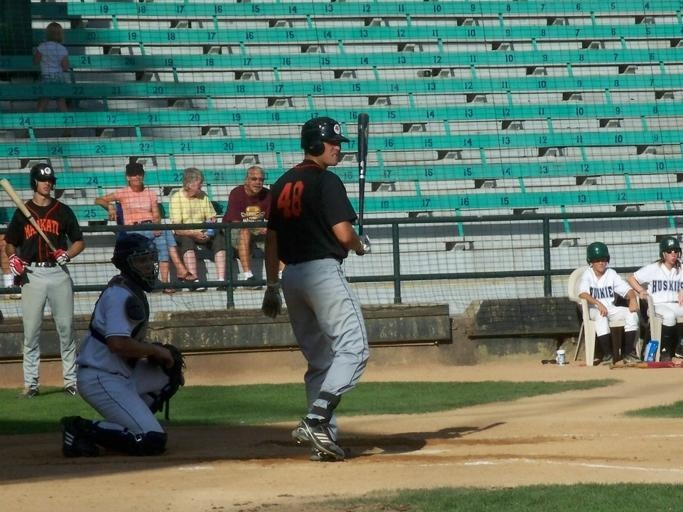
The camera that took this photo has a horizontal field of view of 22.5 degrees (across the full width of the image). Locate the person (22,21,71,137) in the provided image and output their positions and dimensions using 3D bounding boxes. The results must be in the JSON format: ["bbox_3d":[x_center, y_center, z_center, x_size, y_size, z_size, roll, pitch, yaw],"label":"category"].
[{"bbox_3d":[-5.273,-3.243,31.551,0.659,2.033,0.689,-3,8,-10],"label":"person"}]

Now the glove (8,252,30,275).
[{"bbox_3d":[-4.785,0.129,25.622,0.234,0.312,0.115,-21,12,20],"label":"glove"}]

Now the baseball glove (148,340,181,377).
[{"bbox_3d":[-2.353,1.402,23.454,0.471,0.212,0.345,10,-31,0],"label":"baseball glove"}]

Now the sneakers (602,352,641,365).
[{"bbox_3d":[4.440,1.621,27.205,0.601,0.233,0.205,-2,-3,10],"label":"sneakers"}]

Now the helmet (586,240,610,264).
[{"bbox_3d":[4.158,-0.051,27.824,0.293,0.287,0.353,-1,0,-4],"label":"helmet"}]

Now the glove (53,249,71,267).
[{"bbox_3d":[-4.145,0.013,25.571,0.228,0.247,0.190,-13,-27,-26],"label":"glove"}]

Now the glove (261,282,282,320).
[{"bbox_3d":[-0.927,0.595,23.409,0.264,0.428,0.116,8,22,11],"label":"glove"}]

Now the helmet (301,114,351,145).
[{"bbox_3d":[-0.219,-1.697,23.047,0.516,0.266,0.367,-1,5,11],"label":"helmet"}]

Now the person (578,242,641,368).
[{"bbox_3d":[4.346,0.742,27.491,0.644,1.839,1.051,-8,10,-37],"label":"person"}]

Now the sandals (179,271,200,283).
[{"bbox_3d":[-2.514,0.366,28.193,0.414,0.161,0.153,-1,0,14],"label":"sandals"}]
